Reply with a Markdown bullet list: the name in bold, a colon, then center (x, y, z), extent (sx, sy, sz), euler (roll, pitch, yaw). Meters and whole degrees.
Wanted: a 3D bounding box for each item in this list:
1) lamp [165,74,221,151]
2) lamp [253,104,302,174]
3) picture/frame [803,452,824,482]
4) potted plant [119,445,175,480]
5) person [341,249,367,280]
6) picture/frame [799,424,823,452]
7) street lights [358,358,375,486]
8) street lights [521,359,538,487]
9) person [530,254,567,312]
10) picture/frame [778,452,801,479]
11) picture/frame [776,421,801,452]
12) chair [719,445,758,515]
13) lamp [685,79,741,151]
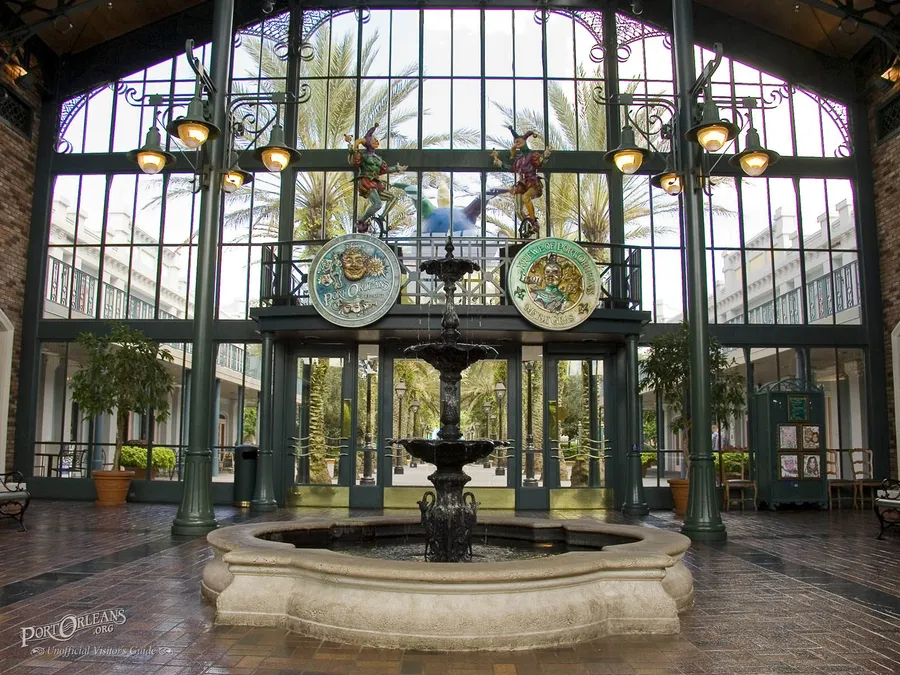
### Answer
- **lamp**: center (-3.816, -3.471, 11.841), extent (0.717, 1.198, 0.942), euler (0, -2, -1)
- **lamp**: center (-2.699, -3.220, 12.299), extent (0.598, 1.232, 1.110), euler (0, -2, -12)
- **picture/frame**: center (7.621, 2.762, 16.413), extent (0.574, 0.689, 0.089), euler (3, -13, -4)
- **potted plant**: center (-6.834, 2.835, 17.883), extent (0.947, 0.552, 0.971), euler (3, -10, -9)
- **person**: center (-1.902, -1.444, 15.597), extent (0.551, 0.713, 0.325), euler (0, -10, -3)
- **picture/frame**: center (7.606, 2.158, 16.507), extent (0.530, 0.619, 0.088), euler (3, -9, -4)
- **street lights**: center (-1.722, 1.758, 16.501), extent (0.305, 2.675, 0.493), euler (0, -2, -5)
- **street lights**: center (1.715, 1.809, 16.455), extent (0.254, 2.589, 0.492), euler (0, -2, 5)
- **person**: center (1.980, -1.100, 15.555), extent (0.675, 1.131, 0.179), euler (0, -2, 6)
- **picture/frame**: center (7.107, 2.728, 16.369), extent (0.532, 0.742, 0.076), euler (1, -10, 2)
- **picture/frame**: center (7.124, 2.134, 16.462), extent (0.592, 0.806, 0.105), euler (3, -14, 1)
- **chair**: center (6.184, 3.071, 16.810), extent (0.880, 1.283, 0.863), euler (-5, -12, 33)
- **lamp**: center (3.992, -3.385, 11.783), extent (0.695, 1.081, 0.854), euler (0, -2, 19)
